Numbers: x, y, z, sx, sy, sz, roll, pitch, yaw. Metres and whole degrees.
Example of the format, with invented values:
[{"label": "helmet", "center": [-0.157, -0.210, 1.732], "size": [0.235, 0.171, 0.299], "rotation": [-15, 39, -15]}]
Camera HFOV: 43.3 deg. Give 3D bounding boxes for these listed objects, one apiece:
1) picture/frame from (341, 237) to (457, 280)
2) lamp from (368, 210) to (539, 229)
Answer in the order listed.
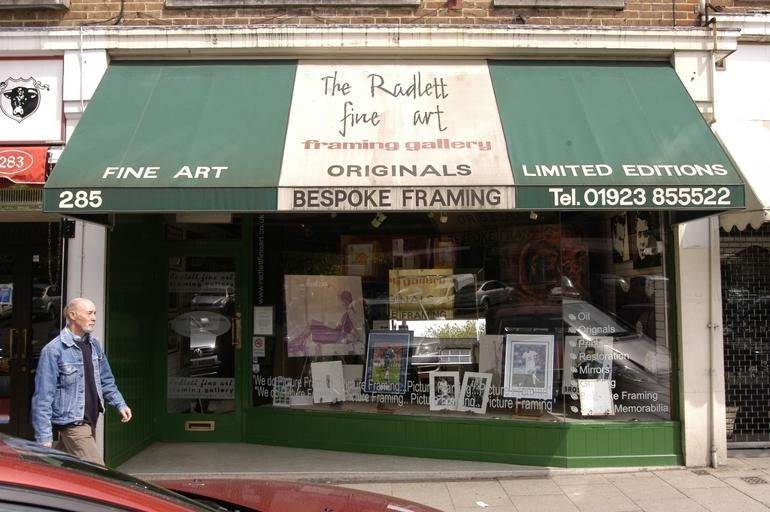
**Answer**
[{"label": "picture/frame", "center": [0.202, -0.021, 14.414], "size": [1.649, 0.576, 0.059], "rotation": [-3, -5, 5]}, {"label": "lamp", "center": [1.012, -0.542, 14.260], "size": [2.483, 0.305, 0.128], "rotation": [-3, -5, 10]}]
